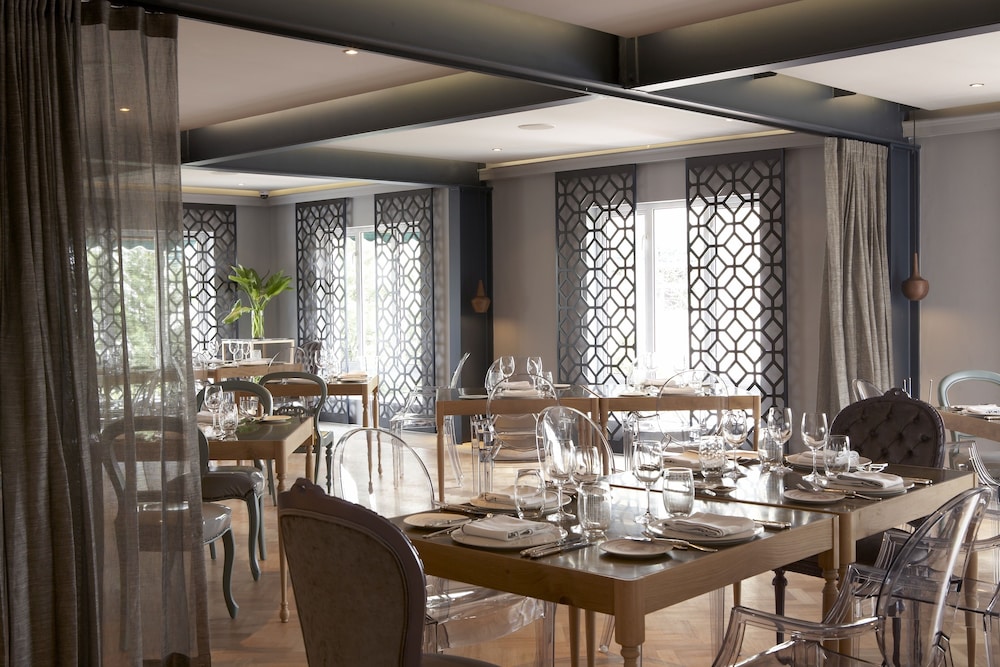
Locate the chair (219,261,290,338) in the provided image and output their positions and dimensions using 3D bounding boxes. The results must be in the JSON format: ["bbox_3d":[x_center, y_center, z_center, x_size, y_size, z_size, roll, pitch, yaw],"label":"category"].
[{"bbox_3d":[-2.992,-0.464,10.307,0.742,0.831,0.833,3,13,12],"label":"chair"}]

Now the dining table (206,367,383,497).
[{"bbox_3d":[-1.597,0.853,6.927,1.322,0.867,0.756,-1,-3,12],"label":"dining table"}]

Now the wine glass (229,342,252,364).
[{"bbox_3d":[-3.160,0.228,10.156,0.257,0.184,0.249,-2,-3,33],"label":"wine glass"}]

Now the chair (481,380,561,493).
[{"bbox_3d":[0.143,0.744,6.174,0.566,0.800,0.567,0,6,17],"label":"chair"}]

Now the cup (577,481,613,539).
[{"bbox_3d":[0.337,0.643,3.036,0.147,0.212,0.138,1,-8,0],"label":"cup"}]

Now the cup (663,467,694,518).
[{"bbox_3d":[0.657,0.584,3.057,0.124,0.168,0.125,-1,-3,0],"label":"cup"}]

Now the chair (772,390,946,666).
[{"bbox_3d":[1.814,0.632,4.032,0.645,0.946,0.724,8,-26,21],"label":"chair"}]

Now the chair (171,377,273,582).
[{"bbox_3d":[-1.674,0.870,5.145,0.627,1.033,0.650,3,4,-6],"label":"chair"}]

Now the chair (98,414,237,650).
[{"bbox_3d":[-1.455,0.821,3.702,0.568,0.946,0.609,-2,-2,-33],"label":"chair"}]

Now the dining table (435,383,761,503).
[{"bbox_3d":[0.726,0.852,6.601,2.467,0.770,0.707,-1,-1,-2],"label":"dining table"}]

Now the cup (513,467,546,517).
[{"bbox_3d":[0.113,0.622,3.249,0.157,0.190,0.164,0,-8,0],"label":"cup"}]
